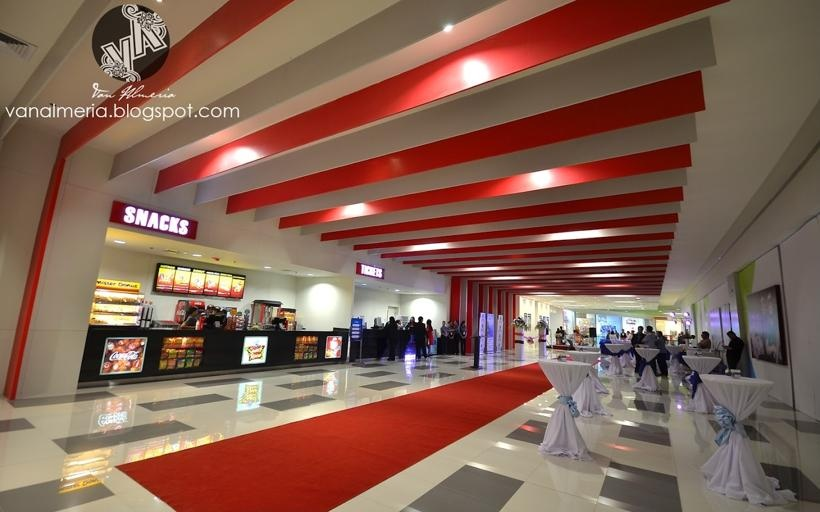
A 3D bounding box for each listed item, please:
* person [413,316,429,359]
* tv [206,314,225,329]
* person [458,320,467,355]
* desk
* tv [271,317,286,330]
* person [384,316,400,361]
[{"bbox_3d":[0.395,3.072,15.155,0.394,1.546,0.579,5,3,41],"label":"person"},{"bbox_3d":[-4.818,1.596,9.909,0.342,0.309,0.330,1,-3,21],"label":"tv"},{"bbox_3d":[2.263,3.536,17.380,0.312,1.441,0.849,3,2,7],"label":"person"},{"bbox_3d":[4.662,2.551,8.381,3.315,2.144,6.122,3,2,23],"label":"desk"},{"bbox_3d":[-3.713,1.898,11.300,0.405,0.327,0.263,2,2,-24],"label":"tv"},{"bbox_3d":[-0.617,2.909,14.356,0.558,1.543,0.535,2,2,-29],"label":"person"}]
